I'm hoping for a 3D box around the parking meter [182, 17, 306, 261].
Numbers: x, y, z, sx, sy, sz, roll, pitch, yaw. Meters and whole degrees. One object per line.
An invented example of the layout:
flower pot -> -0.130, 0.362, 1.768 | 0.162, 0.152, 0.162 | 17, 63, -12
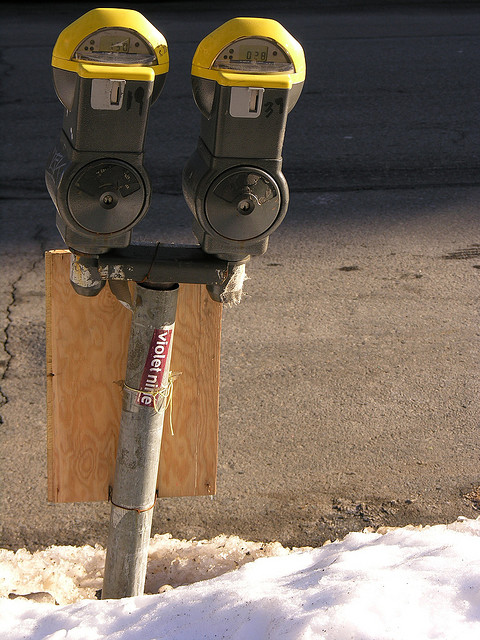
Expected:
parking meter -> 0.018, -0.532, 2.106 | 0.394, 0.559, 0.360 | -9, -3, -3
